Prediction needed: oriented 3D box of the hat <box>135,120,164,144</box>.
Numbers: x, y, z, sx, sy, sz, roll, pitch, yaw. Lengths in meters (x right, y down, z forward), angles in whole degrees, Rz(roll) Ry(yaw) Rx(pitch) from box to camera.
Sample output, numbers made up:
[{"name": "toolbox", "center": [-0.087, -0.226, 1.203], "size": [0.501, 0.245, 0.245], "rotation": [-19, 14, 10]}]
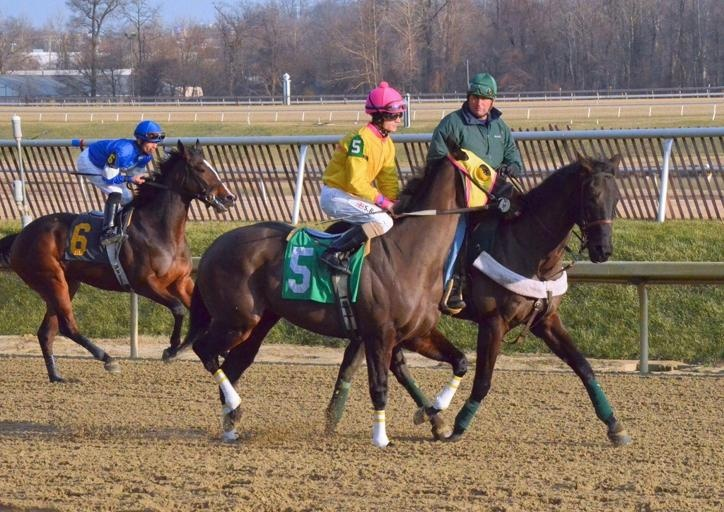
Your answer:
[{"name": "hat", "center": [-3.866, -2.256, 27.307], "size": [0.451, 0.297, 0.352], "rotation": [6, 16, 33]}]

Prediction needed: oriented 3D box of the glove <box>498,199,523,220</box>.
[{"name": "glove", "center": [2.544, -0.795, 25.649], "size": [0.398, 0.289, 0.092], "rotation": [41, -6, -15]}]

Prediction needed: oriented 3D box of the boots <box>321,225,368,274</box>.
[{"name": "boots", "center": [-0.320, -0.069, 25.565], "size": [0.320, 0.633, 0.590], "rotation": [-49, 26, -20]}]

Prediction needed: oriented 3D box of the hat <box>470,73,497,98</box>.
[{"name": "hat", "center": [2.136, -2.948, 26.000], "size": [0.390, 0.379, 0.416], "rotation": [16, 8, 19]}]

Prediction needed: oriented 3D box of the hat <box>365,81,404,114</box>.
[{"name": "hat", "center": [0.414, -2.722, 25.725], "size": [0.727, 0.559, 0.577], "rotation": [9, 20, 32]}]

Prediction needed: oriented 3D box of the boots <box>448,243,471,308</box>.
[{"name": "boots", "center": [1.660, 0.408, 26.102], "size": [0.468, 1.421, 0.551], "rotation": [-1, -23, 3]}]
